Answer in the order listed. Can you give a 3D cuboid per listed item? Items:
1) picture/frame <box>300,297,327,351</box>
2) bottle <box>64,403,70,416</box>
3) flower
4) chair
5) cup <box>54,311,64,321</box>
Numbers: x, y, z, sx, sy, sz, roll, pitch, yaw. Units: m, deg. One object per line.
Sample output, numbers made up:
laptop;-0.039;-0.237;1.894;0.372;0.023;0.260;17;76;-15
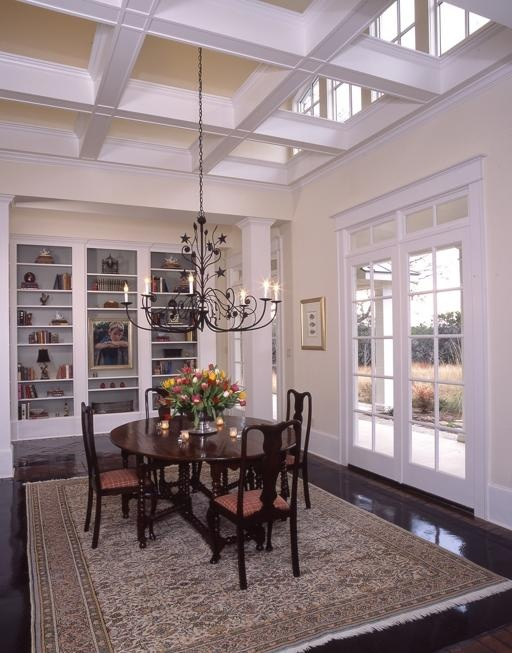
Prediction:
picture/frame;0.650;-0.027;5.966;0.028;0.583;0.523;1;3;39
bottle;-2.751;1.188;7.383;0.088;0.174;0.257;-1;-1;-20
flower;-0.385;0.458;3.610;0.495;0.321;0.482;3;-1;-7
chair;-0.301;0.978;3.380;1.213;0.603;1.205;-1;-1;34
cup;-2.897;-0.151;7.499;0.126;0.074;0.126;1;-3;0
